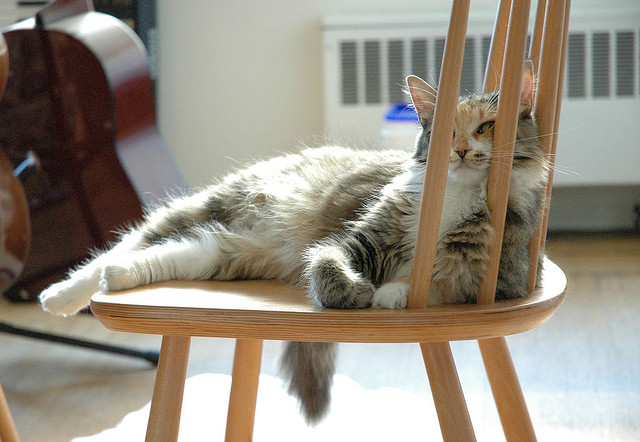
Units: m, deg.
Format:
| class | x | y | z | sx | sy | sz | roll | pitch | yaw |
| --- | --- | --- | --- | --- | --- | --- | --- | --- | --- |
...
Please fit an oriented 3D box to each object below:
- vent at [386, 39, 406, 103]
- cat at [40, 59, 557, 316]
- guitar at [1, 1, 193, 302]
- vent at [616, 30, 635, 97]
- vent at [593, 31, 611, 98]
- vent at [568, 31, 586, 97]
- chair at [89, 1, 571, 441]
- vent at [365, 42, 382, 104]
| class | x | y | z | sx | sy | sz | roll | pitch | yaw |
| --- | --- | --- | --- | --- | --- | --- | --- | --- | --- |
| vent | 0.353 | -0.706 | 3.175 | 0.084 | 0.373 | 0.045 | -5 | 50 | 3 |
| cat | -0.069 | 0.000 | 1.818 | 1.185 | 0.615 | 0.640 | -5 | -8 | 36 |
| guitar | -0.729 | -0.299 | 2.647 | 0.714 | 1.091 | 0.255 | -12 | 1 | 30 |
| vent | 1.388 | -0.721 | 3.090 | 0.083 | 0.276 | 0.111 | -4 | 26 | -3 |
| vent | 1.282 | -0.719 | 3.113 | 0.094 | 0.310 | 0.031 | 0 | 0 | 12 |
| vent | 1.173 | -0.708 | 3.118 | 0.093 | 0.339 | 0.036 | 1 | -13 | 16 |
| chair | 0.062 | 0.031 | 2.313 | 1.173 | 1.744 | 0.955 | 2 | 0 | 8 |
| vent | 0.245 | -0.700 | 3.171 | 0.077 | 0.311 | 0.025 | 5 | 35 | 13 |
